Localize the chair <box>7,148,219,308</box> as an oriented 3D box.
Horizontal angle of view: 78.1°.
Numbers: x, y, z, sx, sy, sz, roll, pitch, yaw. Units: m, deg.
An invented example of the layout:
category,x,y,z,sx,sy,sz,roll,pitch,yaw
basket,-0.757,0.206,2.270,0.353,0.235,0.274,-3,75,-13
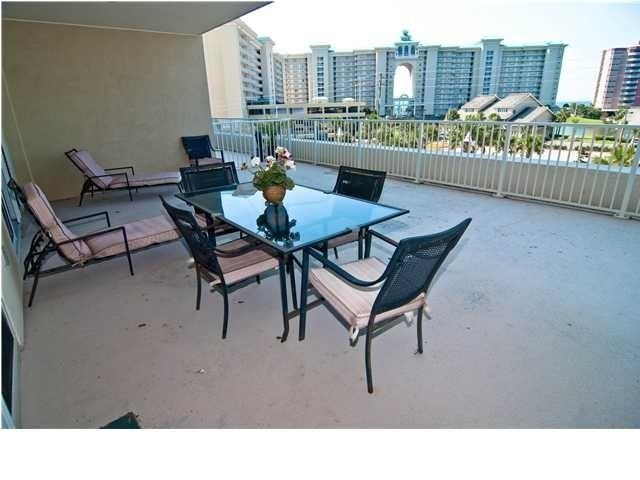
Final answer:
category,x,y,z,sx,sy,sz,roll,pitch,yaw
chair,-2.123,-0.204,4.409,2.039,1.241,1.293,-17,41,-30
